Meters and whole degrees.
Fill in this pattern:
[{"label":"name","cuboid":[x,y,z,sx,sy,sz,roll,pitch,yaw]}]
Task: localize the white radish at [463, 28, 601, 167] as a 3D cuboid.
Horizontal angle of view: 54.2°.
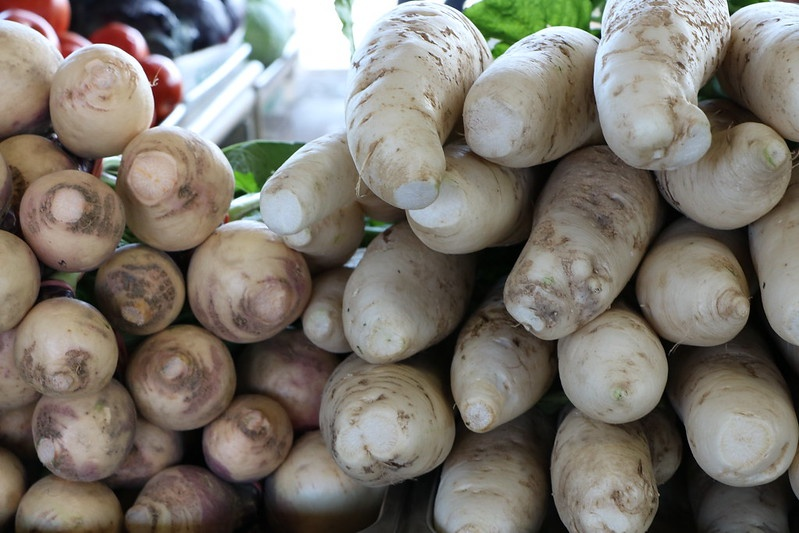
[{"label":"white radish","cuboid":[0.179,-0.225,1.027,0.113,0.117,0.246,-8,13,33]}]
